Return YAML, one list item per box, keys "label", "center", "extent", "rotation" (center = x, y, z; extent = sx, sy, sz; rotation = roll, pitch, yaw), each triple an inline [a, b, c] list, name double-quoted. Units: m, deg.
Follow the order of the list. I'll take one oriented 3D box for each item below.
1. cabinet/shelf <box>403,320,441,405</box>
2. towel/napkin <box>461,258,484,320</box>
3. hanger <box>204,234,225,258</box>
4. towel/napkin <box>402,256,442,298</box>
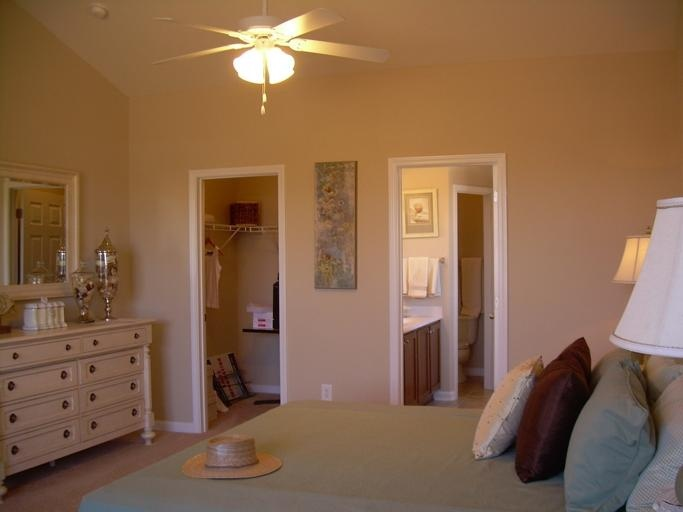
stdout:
- label: "cabinet/shelf"
  center: [0.839, 1.126, 5.629]
  extent: [0.389, 0.936, 1.052]
  rotation: [-1, -1, 18]
- label: "towel/napkin"
  center: [1.745, 0.418, 7.154]
  extent: [0.311, 0.746, 0.216]
  rotation: [-2, 2, 22]
- label: "hanger"
  center: [-1.475, -0.113, 6.144]
  extent: [0.273, 0.313, 0.024]
  rotation: [2, 21, 15]
- label: "towel/napkin"
  center: [0.965, 0.265, 6.243]
  extent: [0.458, 0.426, 0.079]
  rotation: [2, -3, 18]
